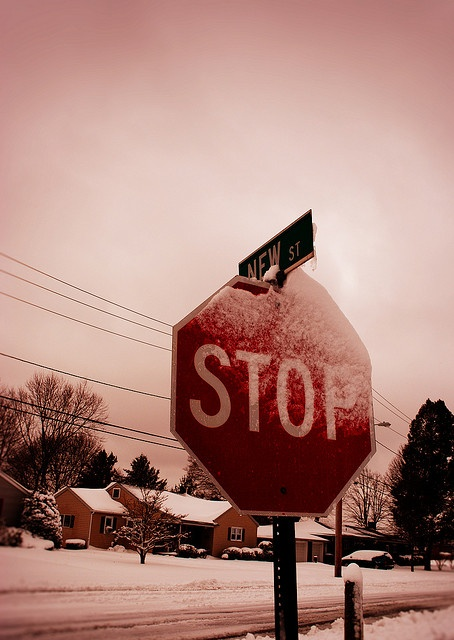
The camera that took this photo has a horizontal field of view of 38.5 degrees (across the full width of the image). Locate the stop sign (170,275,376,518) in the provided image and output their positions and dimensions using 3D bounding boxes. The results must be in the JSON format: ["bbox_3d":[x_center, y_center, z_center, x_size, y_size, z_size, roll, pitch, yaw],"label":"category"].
[{"bbox_3d":[0.199,0.312,2.686,1.004,1.156,0.081,12,-30,-28],"label":"stop sign"}]
